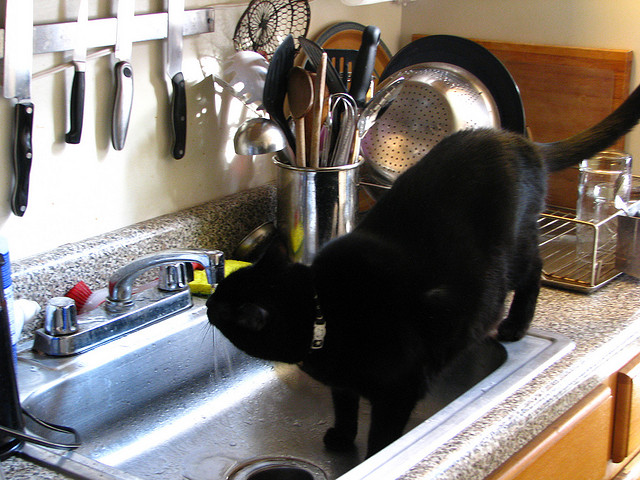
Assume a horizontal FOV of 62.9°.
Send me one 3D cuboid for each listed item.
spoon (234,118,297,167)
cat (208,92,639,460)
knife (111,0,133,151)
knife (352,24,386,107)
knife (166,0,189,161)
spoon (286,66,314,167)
[{"bbox_3d":[-0.107,-0.207,1.074,0.170,0.066,0.094,-2,11,-37],"label":"spoon"},{"bbox_3d":[0.159,0.077,0.951,0.592,0.533,0.307,-13,26,-36],"label":"cat"},{"bbox_3d":[-0.385,-0.314,1.024,0.044,0.276,0.033,-2,20,-22],"label":"knife"},{"bbox_3d":[0.117,-0.382,1.184,0.055,0.184,0.041,42,58,14],"label":"knife"},{"bbox_3d":[-0.308,-0.331,1.113,0.045,0.330,0.052,-3,23,-12],"label":"knife"},{"bbox_3d":[-0.053,-0.259,1.088,0.043,0.191,0.045,-9,21,-35],"label":"spoon"}]
